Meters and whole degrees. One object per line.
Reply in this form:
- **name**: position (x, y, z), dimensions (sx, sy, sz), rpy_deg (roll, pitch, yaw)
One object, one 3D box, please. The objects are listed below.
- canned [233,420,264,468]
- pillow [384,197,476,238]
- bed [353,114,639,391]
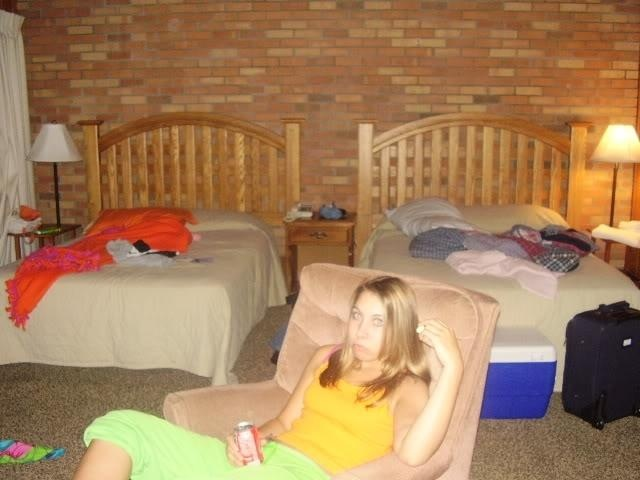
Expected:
- **canned**: position (-0.241, 0.658, 1.661), dimensions (0.111, 0.139, 0.062), rpy_deg (11, 19, 33)
- **pillow**: position (0.882, -0.165, 4.054), dimensions (0.483, 0.285, 0.582), rpy_deg (-2, 13, -11)
- **bed**: position (1.284, -0.233, 4.007), dimensions (2.192, 1.695, 2.373), rpy_deg (0, 8, 4)
